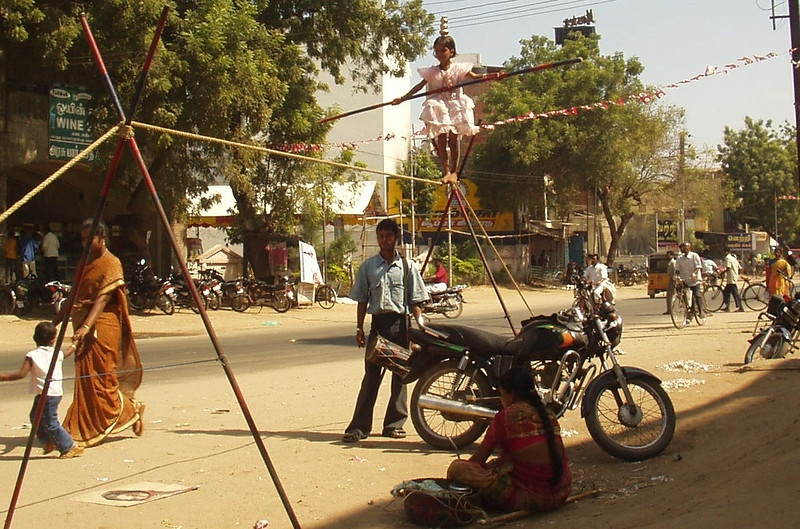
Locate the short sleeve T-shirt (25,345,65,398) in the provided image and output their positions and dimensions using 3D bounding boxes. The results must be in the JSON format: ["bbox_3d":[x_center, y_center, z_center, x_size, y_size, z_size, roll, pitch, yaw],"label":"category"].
[{"bbox_3d":[-4.103,1.284,9.873,0.410,0.421,0.851,-4,2,-25],"label":"short sleeve T-shirt"}]

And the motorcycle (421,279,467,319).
[{"bbox_3d":[1.255,1.032,23.048,1.173,0.803,0.695,-4,-3,-8],"label":"motorcycle"}]

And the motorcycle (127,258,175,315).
[{"bbox_3d":[-6.629,0.640,23.699,1.027,1.427,2.043,-11,14,-43],"label":"motorcycle"}]

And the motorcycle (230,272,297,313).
[{"bbox_3d":[-3.905,0.916,24.808,1.661,1.078,0.888,1,-1,9],"label":"motorcycle"}]

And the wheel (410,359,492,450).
[{"bbox_3d":[0.637,1.704,10.278,0.931,0.998,0.285,-6,-13,23],"label":"wheel"}]

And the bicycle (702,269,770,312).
[{"bbox_3d":[9.535,0.778,24.138,2.185,1.439,1.180,-1,4,8],"label":"bicycle"}]

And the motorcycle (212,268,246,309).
[{"bbox_3d":[-4.944,0.859,25.010,1.344,0.900,0.758,4,9,30],"label":"motorcycle"}]

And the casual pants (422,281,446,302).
[{"bbox_3d":[0.849,0.652,19.882,0.525,0.270,0.679,-2,2,0],"label":"casual pants"}]

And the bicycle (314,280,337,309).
[{"bbox_3d":[-2.362,0.994,26.695,0.798,0.807,0.165,-11,0,19],"label":"bicycle"}]

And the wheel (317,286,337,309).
[{"bbox_3d":[-2.294,1.066,26.527,0.637,0.648,0.135,-6,1,19],"label":"wheel"}]

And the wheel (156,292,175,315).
[{"bbox_3d":[-6.350,1.059,23.013,0.151,0.604,0.566,-7,3,-41],"label":"wheel"}]

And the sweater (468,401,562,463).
[{"bbox_3d":[1.271,1.725,8.920,0.802,0.569,0.514,-7,0,8],"label":"sweater"}]

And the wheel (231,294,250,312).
[{"bbox_3d":[-4.596,1.123,24.489,0.467,0.495,0.079,-4,0,-23],"label":"wheel"}]

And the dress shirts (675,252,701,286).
[{"bbox_3d":[6.648,0.088,19.494,0.556,0.759,0.533,0,5,23],"label":"dress shirts"}]

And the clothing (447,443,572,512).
[{"bbox_3d":[1.200,2.192,8.990,0.941,0.503,0.739,-1,-3,7],"label":"clothing"}]

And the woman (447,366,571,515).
[{"bbox_3d":[1.218,1.908,9.262,1.267,1.523,1.234,-2,-7,21],"label":"woman"}]

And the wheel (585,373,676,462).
[{"bbox_3d":[2.739,1.860,10.108,0.910,0.968,0.311,1,-13,-6],"label":"wheel"}]

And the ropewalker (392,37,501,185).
[{"bbox_3d":[0.635,-2.167,11.674,1.416,1.968,0.745,-1,-2,8],"label":"ropewalker"}]

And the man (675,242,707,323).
[{"bbox_3d":[6.646,0.304,19.450,0.760,1.646,0.858,-10,8,2],"label":"man"}]
